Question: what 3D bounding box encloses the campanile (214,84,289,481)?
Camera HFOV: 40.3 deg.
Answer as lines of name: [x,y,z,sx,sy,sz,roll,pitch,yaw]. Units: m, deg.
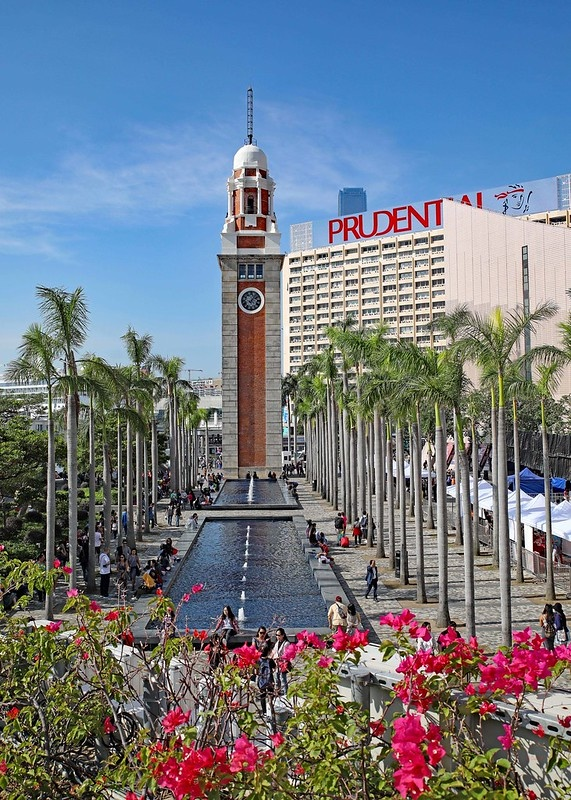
campanile: [-2.605,-6.090,59.427,4.307,25.601,3.584,-2,0,-2]
